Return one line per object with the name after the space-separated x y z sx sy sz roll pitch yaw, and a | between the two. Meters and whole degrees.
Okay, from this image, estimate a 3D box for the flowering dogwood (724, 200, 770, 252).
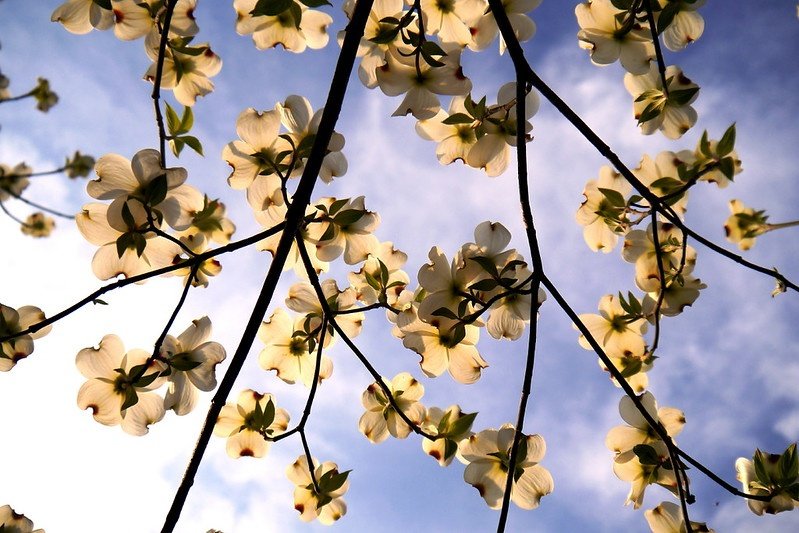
0.834 -0.099 2.916 0.054 0.134 0.116 -1 -35 -18 | flowering dogwood
